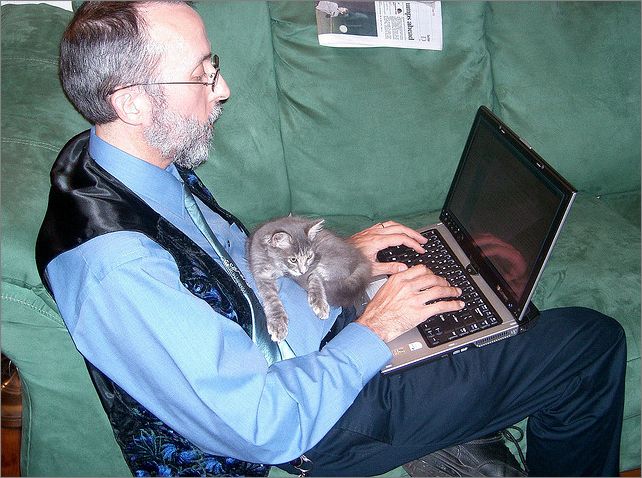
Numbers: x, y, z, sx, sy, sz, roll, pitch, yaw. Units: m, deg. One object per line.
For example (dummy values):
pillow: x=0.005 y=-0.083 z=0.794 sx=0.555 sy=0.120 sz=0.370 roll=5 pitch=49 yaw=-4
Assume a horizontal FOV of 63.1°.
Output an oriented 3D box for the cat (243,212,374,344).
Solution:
cat: x=-0.051 y=0.134 z=2.462 sx=0.501 sy=0.224 sz=0.558 roll=-10 pitch=39 yaw=-28

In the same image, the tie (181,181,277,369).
tie: x=-0.377 y=0.157 z=2.132 sx=0.115 sy=0.820 sz=0.122 roll=-27 pitch=8 yaw=36
